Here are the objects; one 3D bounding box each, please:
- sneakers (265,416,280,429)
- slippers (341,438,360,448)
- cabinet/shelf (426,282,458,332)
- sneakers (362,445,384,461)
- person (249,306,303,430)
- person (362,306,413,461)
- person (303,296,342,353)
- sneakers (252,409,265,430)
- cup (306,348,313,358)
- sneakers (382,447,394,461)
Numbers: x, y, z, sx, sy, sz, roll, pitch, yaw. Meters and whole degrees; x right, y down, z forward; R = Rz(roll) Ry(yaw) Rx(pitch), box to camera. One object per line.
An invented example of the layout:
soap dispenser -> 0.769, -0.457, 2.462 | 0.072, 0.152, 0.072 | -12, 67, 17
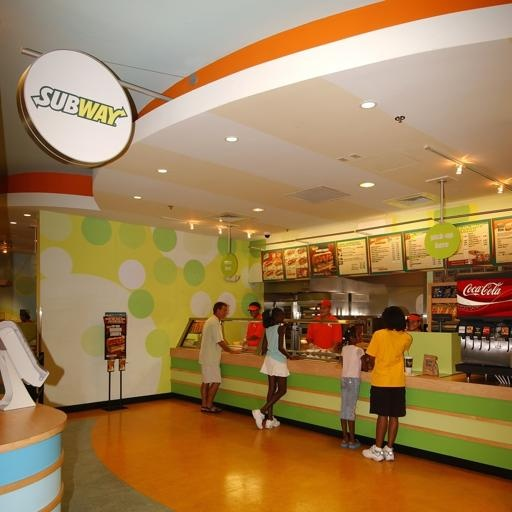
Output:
sneakers -> 0.217, 2.172, 5.048 | 0.096, 0.088, 0.192 | -3, -12, 18
slippers -> 1.023, 2.049, 4.209 | 0.098, 0.064, 0.181 | -1, -3, 33
cabinet/shelf -> 2.702, 0.716, 5.566 | 0.417, 0.755, 0.249 | -1, 11, 18
sneakers -> 1.180, 1.962, 3.910 | 0.094, 0.121, 0.240 | 3, -4, -32
person -> 0.213, 1.469, 5.111 | 0.462, 1.522, 0.660 | 5, -13, -18
person -> 1.315, 1.280, 3.916 | 0.472, 1.494, 0.465 | 9, -14, -30
person -> 0.875, 0.920, 5.080 | 0.426, 0.631, 1.037 | 0, -12, 7
sneakers -> 0.037, 2.085, 5.034 | 0.137, 0.292, 0.107 | -10, 7, 6
cup -> 0.691, 1.236, 4.940 | 0.100, 0.070, 0.104 | -1, -1, 0
sneakers -> 1.318, 1.959, 3.835 | 0.062, 0.077, 0.171 | -1, -13, 4
